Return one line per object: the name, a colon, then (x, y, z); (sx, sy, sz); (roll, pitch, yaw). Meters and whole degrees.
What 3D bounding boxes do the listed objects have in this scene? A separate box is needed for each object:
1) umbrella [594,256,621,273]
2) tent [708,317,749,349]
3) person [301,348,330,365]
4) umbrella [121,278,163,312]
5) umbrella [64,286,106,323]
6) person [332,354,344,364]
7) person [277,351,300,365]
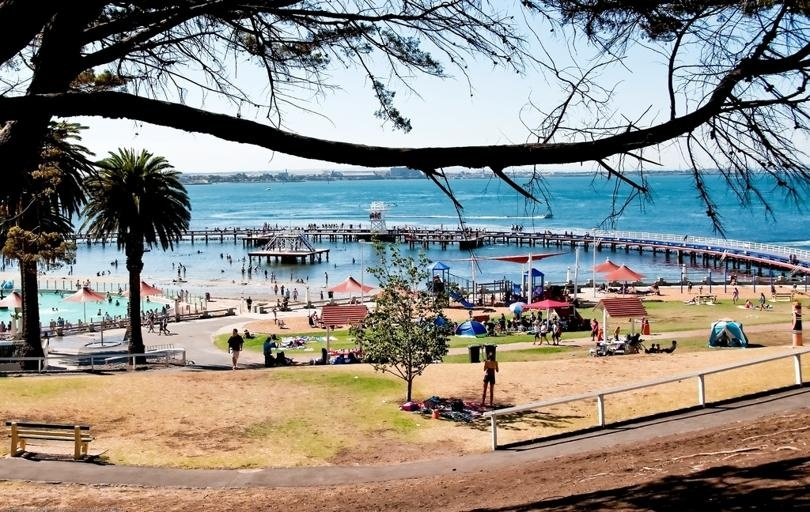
umbrella: (15.440, 0.557, 86.001); (1.777, 0.626, 1.698); (-4, 4, -24)
tent: (14.158, 3.272, 48.765); (1.382, 0.905, 1.377); (0, 0, 42)
person: (-3.841, 4.459, 49.962); (1.049, 0.667, 3.430); (-4, 4, -3)
umbrella: (-16.764, 2.538, 72.046); (3.514, 2.086, 3.166); (1, -1, 4)
umbrella: (-21.110, 3.257, 74.402); (2.957, 2.232, 2.686); (-3, 1, -34)
person: (-2.897, 4.477, 49.377); (0.576, 0.311, 0.946); (-4, 4, -4)
person: (-5.223, 4.522, 50.100); (0.948, 0.570, 1.686); (-4, 4, -5)
